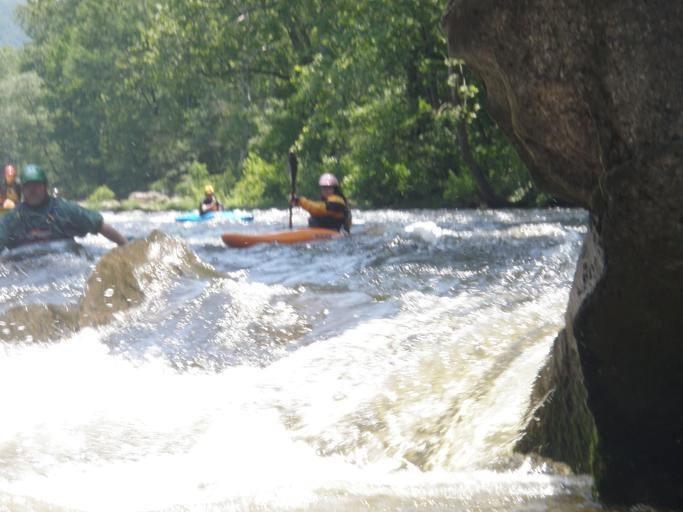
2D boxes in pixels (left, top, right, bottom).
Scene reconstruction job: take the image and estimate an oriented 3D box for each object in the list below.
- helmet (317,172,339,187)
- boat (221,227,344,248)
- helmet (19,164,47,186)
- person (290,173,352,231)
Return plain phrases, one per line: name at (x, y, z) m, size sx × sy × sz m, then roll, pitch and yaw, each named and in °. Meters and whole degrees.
helmet at (-0.217, -1.144, 16.378) m, size 0.236 × 0.260 × 0.297 m, roll -3°, pitch 10°, yaw -12°
boat at (-0.917, -0.259, 16.156) m, size 1.846 × 0.243 × 0.583 m, roll -2°, pitch 7°, yaw 5°
helmet at (-3.748, -0.982, 12.962) m, size 0.284 × 0.216 × 0.372 m, roll -4°, pitch 7°, yaw -16°
person at (-0.243, -0.795, 16.442) m, size 0.732 × 0.914 × 0.436 m, roll -2°, pitch 6°, yaw -3°
